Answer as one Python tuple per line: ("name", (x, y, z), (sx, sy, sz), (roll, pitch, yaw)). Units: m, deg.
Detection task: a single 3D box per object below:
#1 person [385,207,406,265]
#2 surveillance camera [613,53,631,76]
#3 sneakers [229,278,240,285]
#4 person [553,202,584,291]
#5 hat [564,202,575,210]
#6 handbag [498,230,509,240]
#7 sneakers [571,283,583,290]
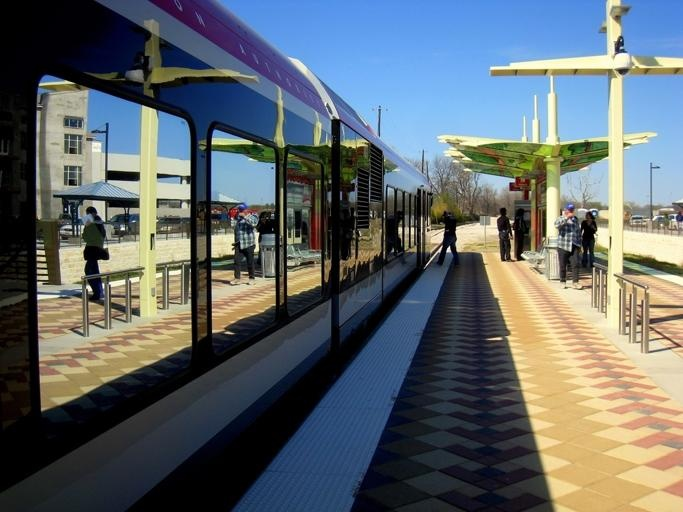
("person", (1.120, -0.409, 11.282), (0.372, 1.069, 0.309), (0, 15, 4))
("surveillance camera", (4.112, -2.796, 7.815), (0.244, 0.316, 0.416), (2, 4, 30))
("sneakers", (-0.773, 0.185, 3.881), (0.038, 0.047, 0.117), (1, -6, 17))
("person", (5.427, -0.208, 12.759), (0.572, 2.018, 1.514), (1, 3, 24))
("hat", (5.233, -1.125, 12.124), (0.181, 0.148, 0.305), (5, 12, 8))
("handbag", (6.206, -0.782, 20.441), (0.331, 0.353, 0.353), (1, 4, 27))
("sneakers", (5.697, 0.743, 13.012), (0.132, 0.170, 0.378), (-3, 0, -26))
